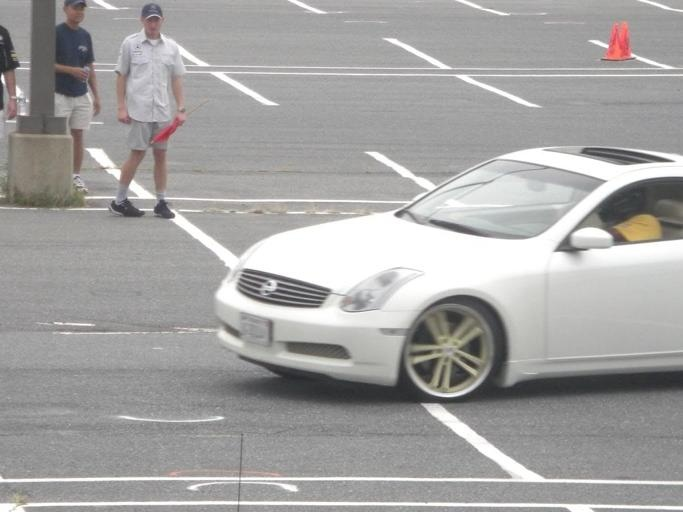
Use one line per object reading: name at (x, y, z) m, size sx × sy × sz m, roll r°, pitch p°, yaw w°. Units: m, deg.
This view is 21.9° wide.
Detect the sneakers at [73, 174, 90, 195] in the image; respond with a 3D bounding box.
sneakers at (-3.103, -0.829, 20.856) m, size 0.126 × 0.137 × 0.353 m, roll -2°, pitch 16°, yaw -31°

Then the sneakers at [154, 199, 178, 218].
sneakers at (-2.006, -0.528, 19.823) m, size 0.130 × 0.141 × 0.338 m, roll -5°, pitch 9°, yaw -29°

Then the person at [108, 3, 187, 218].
person at (-2.161, -1.615, 19.663) m, size 0.809 × 2.355 × 0.808 m, roll 5°, pitch 13°, yaw -8°

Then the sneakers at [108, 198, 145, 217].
sneakers at (-2.434, -0.546, 19.792) m, size 0.417 × 0.162 × 0.154 m, roll 6°, pitch 14°, yaw 4°

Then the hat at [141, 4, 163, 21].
hat at (-2.104, -2.682, 19.526) m, size 0.241 × 0.158 × 0.336 m, roll 0°, pitch 9°, yaw -12°

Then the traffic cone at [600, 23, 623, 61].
traffic cone at (5.432, -4.224, 35.068) m, size 0.375 × 0.632 × 1.292 m, roll 8°, pitch 13°, yaw 7°
